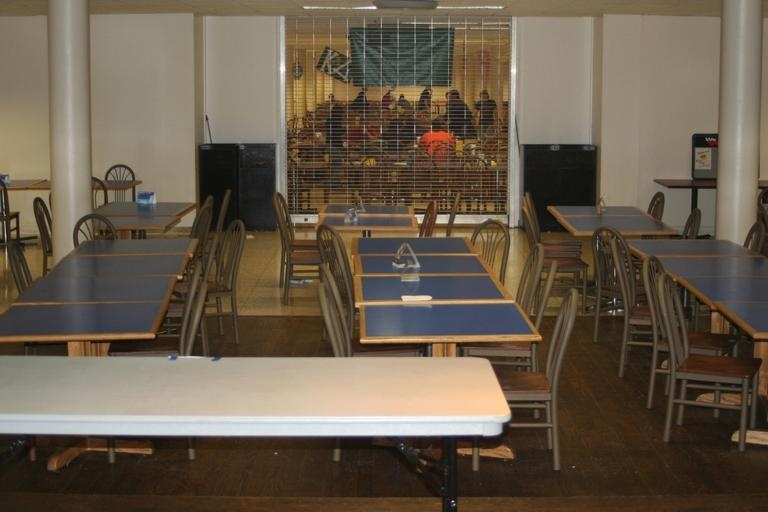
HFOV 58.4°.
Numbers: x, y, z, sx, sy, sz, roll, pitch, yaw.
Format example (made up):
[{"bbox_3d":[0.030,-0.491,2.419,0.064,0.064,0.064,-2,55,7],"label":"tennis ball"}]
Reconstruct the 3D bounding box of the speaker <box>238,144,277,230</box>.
[{"bbox_3d":[-2.135,-1.159,11.572,0.653,1.456,0.251,-2,14,1],"label":"speaker"}]

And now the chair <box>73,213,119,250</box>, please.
[{"bbox_3d":[-2.674,-0.229,6.335,0.348,0.422,0.320,-5,15,-24],"label":"chair"}]

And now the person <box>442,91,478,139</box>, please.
[{"bbox_3d":[1.335,-2.485,12.015,0.486,0.845,0.122,-2,14,1],"label":"person"}]

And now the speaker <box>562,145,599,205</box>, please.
[{"bbox_3d":[3.274,-1.331,11.279,0.470,0.973,0.286,1,15,15],"label":"speaker"}]

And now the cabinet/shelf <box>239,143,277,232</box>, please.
[{"bbox_3d":[-2.135,-1.159,11.572,0.653,1.456,0.251,-2,14,1],"label":"cabinet/shelf"}]
